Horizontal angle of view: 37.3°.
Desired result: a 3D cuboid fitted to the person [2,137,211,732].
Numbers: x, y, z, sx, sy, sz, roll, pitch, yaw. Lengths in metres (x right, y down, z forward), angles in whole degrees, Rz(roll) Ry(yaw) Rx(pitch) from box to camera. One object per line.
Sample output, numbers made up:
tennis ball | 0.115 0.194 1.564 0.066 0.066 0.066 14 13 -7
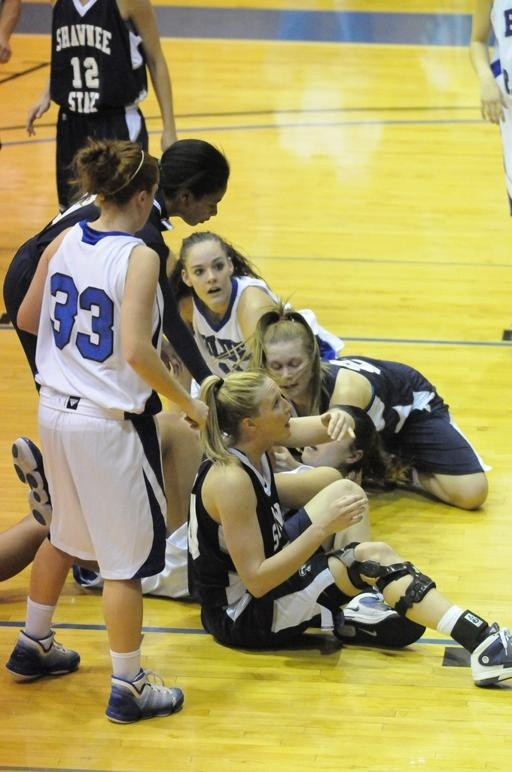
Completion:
person | -0.353 0.109 1.625 0.478 1.224 0.268 2 9 25

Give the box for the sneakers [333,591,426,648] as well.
sneakers | 0.297 0.584 1.928 0.254 0.108 0.118 4 37 33

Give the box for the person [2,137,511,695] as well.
person | -0.081 0.073 2.314 1.372 1.534 1.027 -5 9 -34

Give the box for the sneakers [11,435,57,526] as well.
sneakers | -0.528 0.223 1.857 0.112 0.254 0.085 -6 -5 -45
